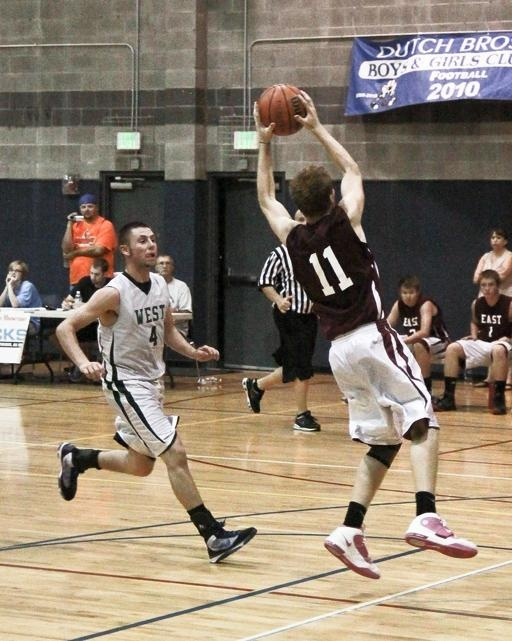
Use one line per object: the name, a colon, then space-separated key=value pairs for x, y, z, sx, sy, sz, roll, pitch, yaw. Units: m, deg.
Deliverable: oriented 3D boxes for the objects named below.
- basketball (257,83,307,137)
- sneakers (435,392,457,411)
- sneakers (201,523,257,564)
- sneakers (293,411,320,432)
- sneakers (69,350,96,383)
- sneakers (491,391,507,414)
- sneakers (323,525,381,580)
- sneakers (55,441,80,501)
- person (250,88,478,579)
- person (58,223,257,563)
basketball: x=0.118 y=-0.910 z=4.015 sx=0.217 sy=0.219 sz=0.214 roll=10 pitch=29 yaw=35
sneakers: x=1.646 y=0.731 z=8.096 sx=0.231 sy=0.189 sz=0.111 roll=2 pitch=4 yaw=-3
sneakers: x=-0.103 y=0.822 z=3.391 sx=0.191 sy=0.150 sz=0.168 roll=-2 pitch=5 yaw=-32
sneakers: x=0.377 y=0.773 z=6.886 sx=0.214 sy=0.118 sz=0.111 roll=1 pitch=1 yaw=36
sneakers: x=-1.962 y=0.574 z=10.041 sx=0.210 sy=0.230 sz=0.578 roll=-5 pitch=9 yaw=0
sneakers: x=2.106 y=0.711 z=7.938 sx=0.154 sy=0.194 sz=0.391 roll=2 pitch=5 yaw=15
sneakers: x=0.302 y=0.745 z=2.905 sx=0.168 sy=0.194 sz=0.167 roll=1 pitch=4 yaw=3
sneakers: x=-0.841 y=0.665 z=4.080 sx=0.102 sy=0.276 sz=0.119 roll=1 pitch=-40 yaw=-7
person: x=0.353 y=0.060 z=3.106 sx=0.575 sy=1.691 sz=1.056 roll=0 pitch=4 yaw=-10
person: x=-0.417 y=0.241 z=3.675 sx=0.756 sy=1.247 sz=0.916 roll=0 pitch=4 yaw=-11
